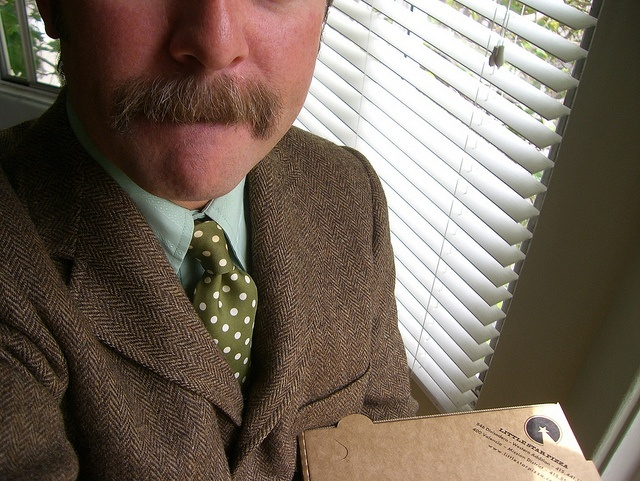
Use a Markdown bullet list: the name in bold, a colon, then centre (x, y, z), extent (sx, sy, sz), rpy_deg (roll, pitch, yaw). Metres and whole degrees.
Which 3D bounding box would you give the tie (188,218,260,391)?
- **tie**: centre (-0.153, 0.135, 0.901), extent (0.112, 0.372, 0.089), rpy_deg (11, 35, 0)
